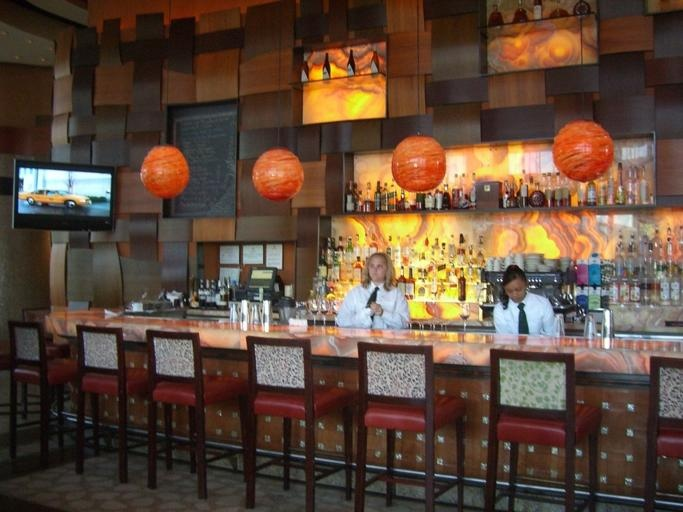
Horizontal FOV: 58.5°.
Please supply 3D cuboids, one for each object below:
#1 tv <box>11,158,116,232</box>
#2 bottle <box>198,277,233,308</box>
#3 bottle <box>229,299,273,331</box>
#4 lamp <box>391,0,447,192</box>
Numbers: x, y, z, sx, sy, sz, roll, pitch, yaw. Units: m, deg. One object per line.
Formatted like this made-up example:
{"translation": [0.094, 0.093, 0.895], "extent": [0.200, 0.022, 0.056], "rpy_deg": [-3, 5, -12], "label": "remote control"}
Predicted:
{"translation": [-3.688, -0.800, 8.090], "extent": [0.938, 0.744, 0.081], "rpy_deg": [0, 6, -21], "label": "tv"}
{"translation": [-1.639, 0.474, 7.939], "extent": [0.362, 0.380, 0.382], "rpy_deg": [1, 3, 25], "label": "bottle"}
{"translation": [-0.849, 0.548, 5.598], "extent": [0.291, 0.236, 0.293], "rpy_deg": [1, 0, 18], "label": "bottle"}
{"translation": [0.693, -1.273, 5.524], "extent": [0.480, 1.307, 0.464], "rpy_deg": [-12, 15, -43], "label": "lamp"}
